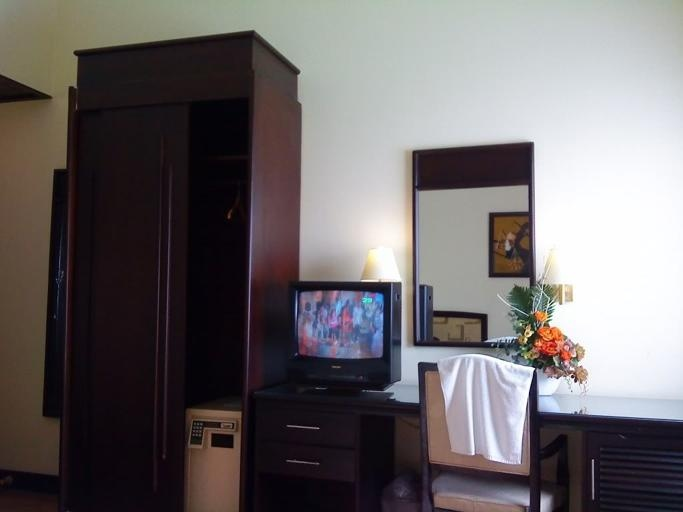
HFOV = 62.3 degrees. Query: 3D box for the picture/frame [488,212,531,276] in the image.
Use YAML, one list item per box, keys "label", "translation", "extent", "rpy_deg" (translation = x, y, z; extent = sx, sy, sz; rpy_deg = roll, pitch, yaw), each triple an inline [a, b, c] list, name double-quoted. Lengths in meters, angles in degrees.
- label: "picture/frame"
  translation: [1.034, -0.064, 3.436]
  extent: [0.340, 0.512, 0.037]
  rpy_deg: [1, -1, 19]
